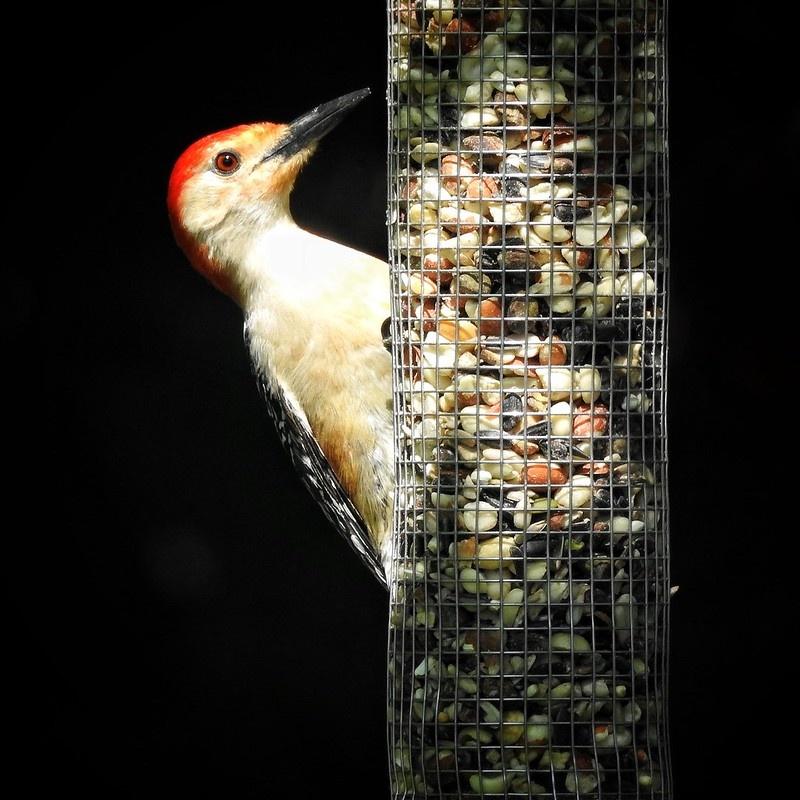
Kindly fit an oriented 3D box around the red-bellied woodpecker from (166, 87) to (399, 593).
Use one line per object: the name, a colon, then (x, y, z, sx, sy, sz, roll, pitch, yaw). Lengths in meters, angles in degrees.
red-bellied woodpecker: (-0.220, -0.120, 2.843, 0.424, 0.657, 0.658, -2, -43, 4)
